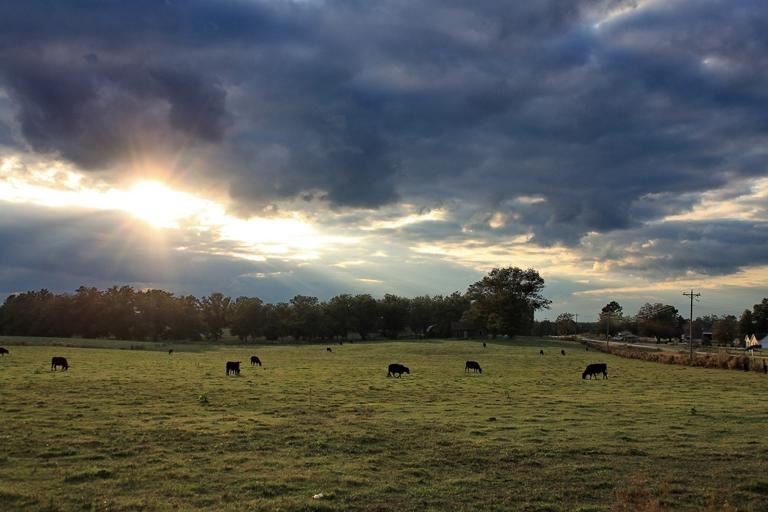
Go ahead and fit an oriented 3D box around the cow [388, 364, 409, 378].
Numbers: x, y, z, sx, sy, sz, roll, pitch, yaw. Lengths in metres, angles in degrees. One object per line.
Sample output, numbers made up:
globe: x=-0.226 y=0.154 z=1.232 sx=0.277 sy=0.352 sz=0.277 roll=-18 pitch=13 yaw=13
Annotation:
cow: x=1.544 y=12.489 z=64.326 sx=2.431 sy=1.259 sz=4.536 roll=0 pitch=-1 yaw=1
